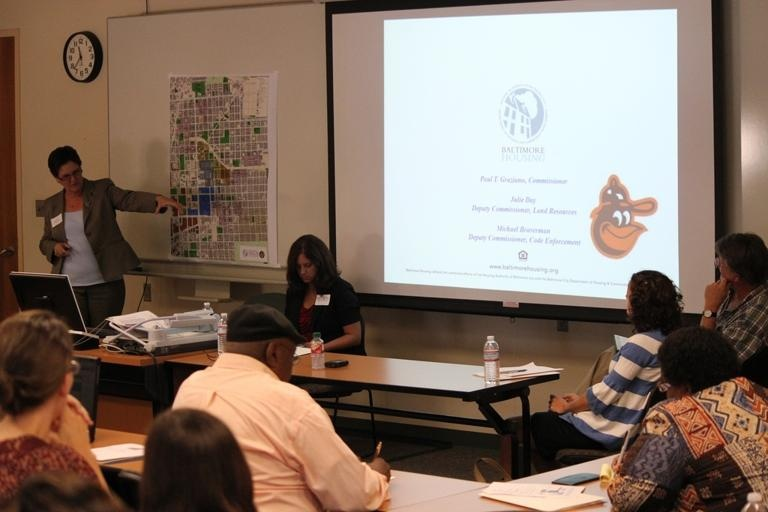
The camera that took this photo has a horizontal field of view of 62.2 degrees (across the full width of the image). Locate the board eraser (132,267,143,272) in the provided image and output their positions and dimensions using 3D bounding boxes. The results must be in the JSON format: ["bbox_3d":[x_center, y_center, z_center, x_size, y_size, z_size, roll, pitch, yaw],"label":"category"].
[{"bbox_3d":[-2.305,0.134,5.967,0.057,0.047,0.060,0,-5,14],"label":"board eraser"}]

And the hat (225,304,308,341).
[{"bbox_3d":[-0.466,0.246,2.459,0.196,0.098,0.149,-1,2,-17],"label":"hat"}]

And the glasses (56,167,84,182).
[{"bbox_3d":[-2.656,-0.685,5.396,0.195,0.119,0.138,-6,10,-32],"label":"glasses"}]

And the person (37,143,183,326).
[{"bbox_3d":[-2.311,-0.161,5.527,1.331,1.989,0.695,-6,-6,-17],"label":"person"}]

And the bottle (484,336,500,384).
[{"bbox_3d":[0.649,0.607,3.813,0.091,0.282,0.208,1,9,11],"label":"bottle"}]

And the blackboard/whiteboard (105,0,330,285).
[{"bbox_3d":[-1.389,-0.978,5.613,2.427,2.633,0.049,1,2,21],"label":"blackboard/whiteboard"}]

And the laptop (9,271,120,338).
[{"bbox_3d":[-2.038,0.298,4.142,0.415,0.410,0.301,3,11,33],"label":"laptop"}]

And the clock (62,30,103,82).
[{"bbox_3d":[-2.950,-1.966,6.286,0.494,0.590,0.134,1,1,32],"label":"clock"}]
